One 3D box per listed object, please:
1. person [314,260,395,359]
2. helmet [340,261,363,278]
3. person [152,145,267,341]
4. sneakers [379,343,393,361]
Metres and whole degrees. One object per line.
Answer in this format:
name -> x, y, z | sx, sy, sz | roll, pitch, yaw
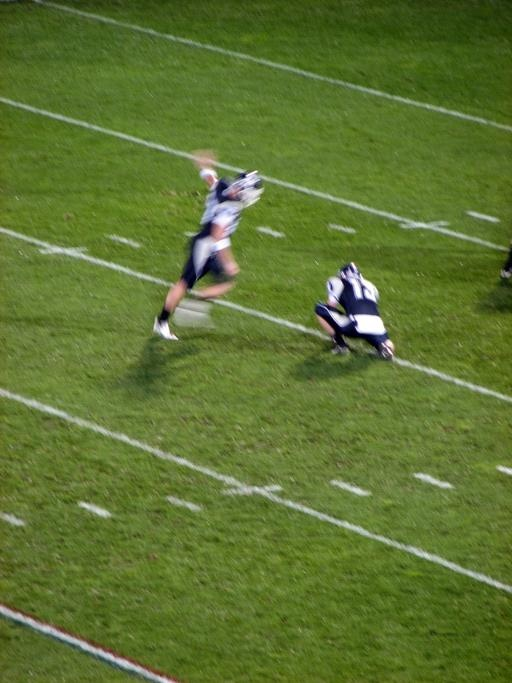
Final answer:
person -> 0.982, -0.206, 14.023 | 0.776, 0.567, 1.461 | 1, 28, -16
helmet -> 0.960, -0.665, 14.086 | 0.222, 0.163, 0.145 | 7, 27, -8
person -> -0.453, -0.891, 14.244 | 0.785, 1.715, 1.203 | 11, 14, -1
sneakers -> 1.253, 0.087, 13.919 | 0.082, 0.220, 0.076 | -27, 13, -12
